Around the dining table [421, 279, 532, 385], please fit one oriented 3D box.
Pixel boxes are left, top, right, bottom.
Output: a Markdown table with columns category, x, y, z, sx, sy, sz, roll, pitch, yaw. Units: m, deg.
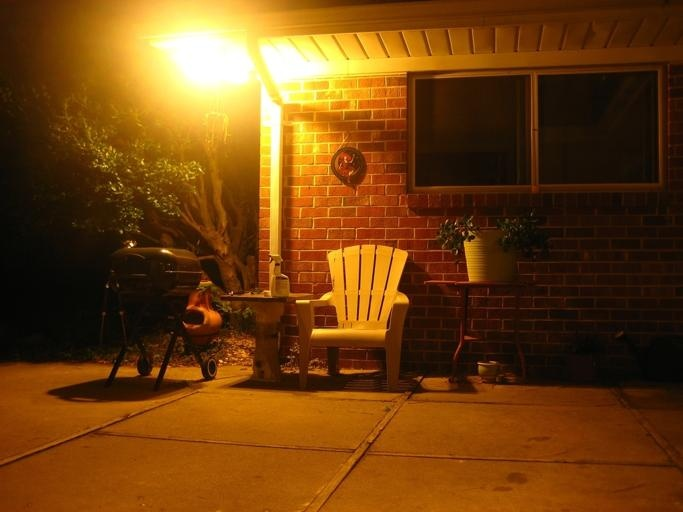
| category | x | y | z | sx | sy | sz | roll | pitch | yaw |
| --- | --- | --- | --- | --- | --- | --- | --- | --- | --- |
| dining table | 1.283 | 0.709 | 5.403 | 0.871 | 0.876 | 0.915 | 1 | 3 | 11 |

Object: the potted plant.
| category | x | y | z | sx | sy | sz | roll | pitch | yaw |
| --- | --- | --- | --- | --- | --- | --- | --- | --- | --- |
| potted plant | 1.422 | -0.094 | 5.392 | 0.954 | 0.656 | 0.816 | 3 | 3 | 34 |

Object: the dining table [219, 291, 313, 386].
| category | x | y | z | sx | sy | sz | roll | pitch | yaw |
| --- | --- | --- | --- | --- | --- | --- | --- | --- | --- |
| dining table | -0.717 | 0.773 | 5.296 | 0.948 | 0.737 | 1.001 | -8 | -16 | 44 |

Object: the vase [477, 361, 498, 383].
| category | x | y | z | sx | sy | sz | roll | pitch | yaw |
| --- | --- | --- | --- | --- | --- | --- | --- | --- | --- |
| vase | 1.304 | 1.039 | 5.116 | 0.170 | 0.182 | 0.185 | 3 | -14 | 10 |

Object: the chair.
| category | x | y | z | sx | sy | sz | roll | pitch | yaw |
| --- | --- | --- | --- | --- | --- | --- | --- | --- | --- |
| chair | 0.126 | 0.522 | 5.070 | 1.079 | 1.277 | 1.076 | 1 | -3 | -20 |
